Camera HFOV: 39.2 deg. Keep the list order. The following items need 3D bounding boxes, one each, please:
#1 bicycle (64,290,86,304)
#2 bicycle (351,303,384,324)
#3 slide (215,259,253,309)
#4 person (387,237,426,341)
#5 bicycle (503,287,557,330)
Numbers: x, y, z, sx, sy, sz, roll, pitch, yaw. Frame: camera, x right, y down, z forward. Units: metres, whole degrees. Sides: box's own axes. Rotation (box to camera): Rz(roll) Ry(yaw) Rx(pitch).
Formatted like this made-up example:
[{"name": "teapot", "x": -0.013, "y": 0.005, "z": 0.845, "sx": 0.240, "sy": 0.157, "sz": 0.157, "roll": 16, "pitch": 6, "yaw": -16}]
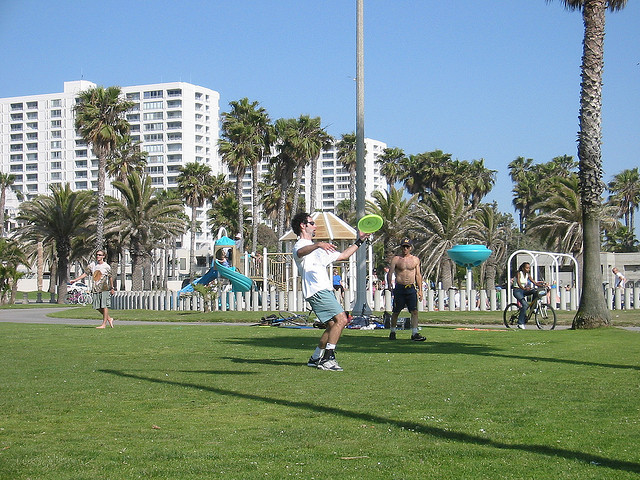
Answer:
[{"name": "bicycle", "x": -16.426, "y": 3.856, "z": 59.998, "sx": 0.748, "sy": 0.914, "sz": 1.441, "roll": 0, "pitch": -4, "yaw": -41}, {"name": "bicycle", "x": 1.310, "y": 2.031, "z": 24.930, "sx": 1.133, "sy": 0.497, "sz": 0.339, "roll": 11, "pitch": 3, "yaw": 26}, {"name": "slide", "x": -3.890, "y": 1.978, "z": 40.298, "sx": 1.719, "sy": 2.316, "sz": 5.301, "roll": 1, "pitch": -6, "yaw": -4}, {"name": "person", "x": 1.935, "y": 1.091, "z": 19.874, "sx": 0.809, "sy": 2.240, "sz": 1.176, "roll": 0, "pitch": -5, "yaw": 5}, {"name": "bicycle", "x": 5.546, "y": 1.848, "z": 23.904, "sx": 0.870, "sy": 1.147, "sz": 1.780, "roll": 1, "pitch": -3, "yaw": -37}]
